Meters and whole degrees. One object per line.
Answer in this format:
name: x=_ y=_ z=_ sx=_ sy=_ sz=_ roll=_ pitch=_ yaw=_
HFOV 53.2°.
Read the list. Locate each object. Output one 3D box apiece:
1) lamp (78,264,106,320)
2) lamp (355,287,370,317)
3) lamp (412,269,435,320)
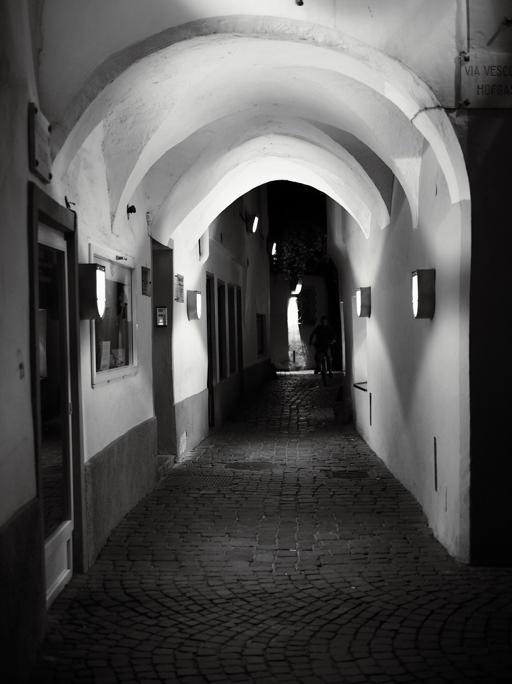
lamp: x=-1.285 y=-0.398 z=3.989 sx=0.156 sy=0.423 sz=0.317 roll=0 pitch=-3 yaw=-12
lamp: x=1.837 y=-0.690 z=8.739 sx=0.169 sy=0.570 sz=0.542 roll=-1 pitch=-3 yaw=4
lamp: x=1.456 y=-0.427 z=4.434 sx=0.077 sy=0.432 sz=0.325 roll=0 pitch=-1 yaw=4
